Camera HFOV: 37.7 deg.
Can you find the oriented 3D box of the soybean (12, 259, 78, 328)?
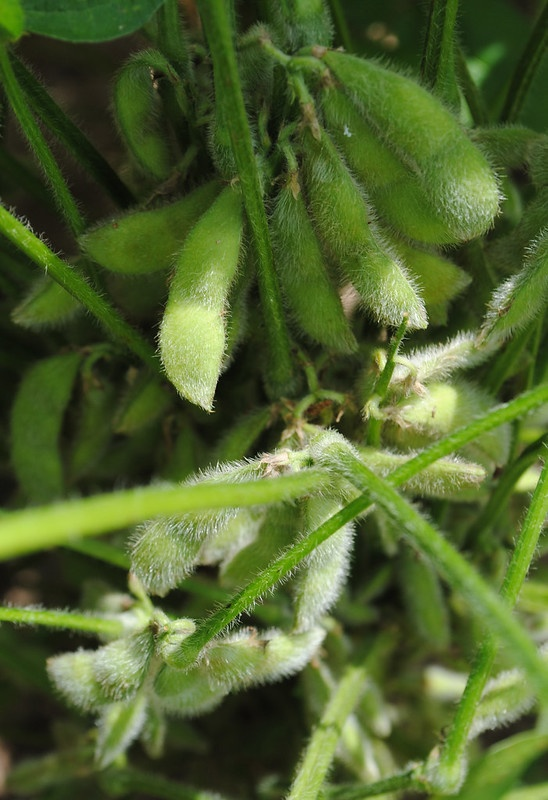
[{"bbox_3d":[-0.171,-0.071,0.603,0.047,0.053,0.013,-4,18,9],"label":"soybean"}]

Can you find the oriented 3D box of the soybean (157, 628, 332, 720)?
[{"bbox_3d":[-0.031,0.161,0.505,0.093,0.031,0.030,11,-3,23],"label":"soybean"}]

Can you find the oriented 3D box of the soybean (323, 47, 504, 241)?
[{"bbox_3d":[0.115,-0.165,0.532,0.044,0.147,0.083,-43,9,-38],"label":"soybean"}]
